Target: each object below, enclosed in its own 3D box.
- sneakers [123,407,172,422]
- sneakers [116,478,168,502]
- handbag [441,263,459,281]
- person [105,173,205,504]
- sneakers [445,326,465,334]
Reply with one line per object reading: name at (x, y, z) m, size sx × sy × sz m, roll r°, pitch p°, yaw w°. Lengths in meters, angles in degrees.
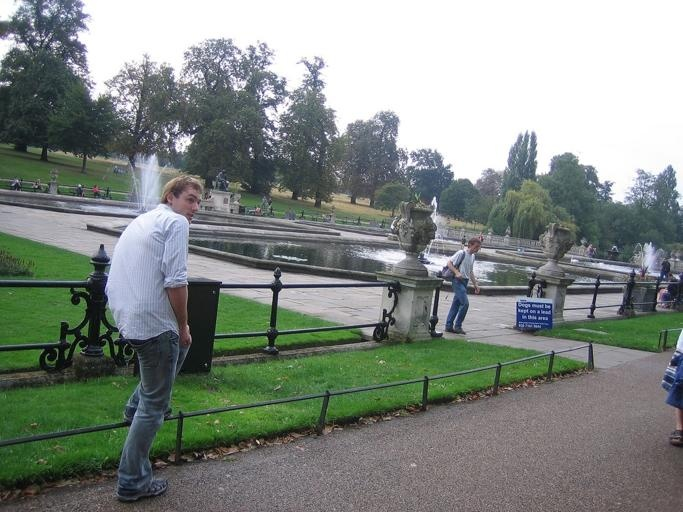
sneakers at (-1.612, 1.317, 4.272) m, size 0.212 × 0.136 × 0.356 m, roll 5°, pitch -5°, yaw 3°
sneakers at (-1.621, 1.870, 4.220) m, size 0.149 × 0.164 × 0.333 m, roll 4°, pitch 7°, yaw 43°
handbag at (2.440, 0.346, 11.526) m, size 0.378 × 0.422 × 0.528 m, roll 7°, pitch 5°, yaw 13°
person at (-1.594, 0.634, 4.276) m, size 0.624 × 2.643 × 0.567 m, roll 3°, pitch 6°, yaw -24°
sneakers at (2.556, 1.672, 11.705) m, size 0.472 × 0.206 × 0.169 m, roll 1°, pitch 2°, yaw 2°
